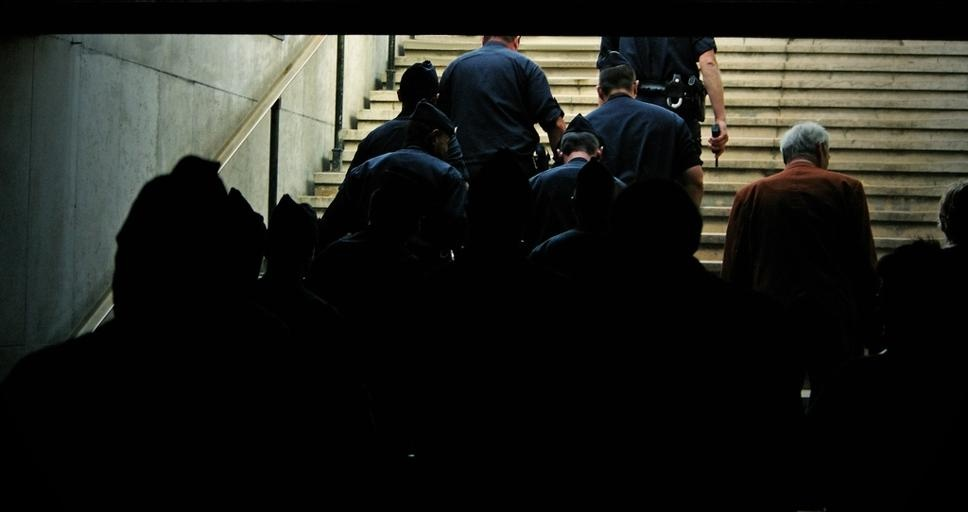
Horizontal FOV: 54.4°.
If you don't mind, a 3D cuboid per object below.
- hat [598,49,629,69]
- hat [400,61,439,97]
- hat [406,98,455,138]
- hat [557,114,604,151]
[{"bbox_3d":[0.984,-1.513,7.215,0.155,0.123,0.210,2,-4,-12],"label":"hat"},{"bbox_3d":[-0.450,-1.314,6.864,0.228,0.280,0.294,8,26,2],"label":"hat"},{"bbox_3d":[-0.349,-0.919,6.282,0.290,0.111,0.203,21,-3,-29],"label":"hat"},{"bbox_3d":[0.688,-0.866,6.612,0.358,0.187,0.478,1,3,3],"label":"hat"}]
